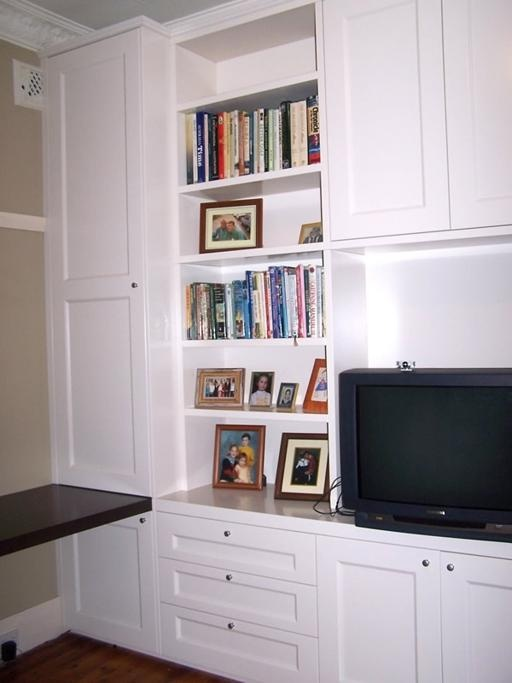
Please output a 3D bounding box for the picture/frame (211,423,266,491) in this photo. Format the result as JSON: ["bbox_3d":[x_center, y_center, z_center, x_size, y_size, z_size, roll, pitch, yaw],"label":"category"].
[{"bbox_3d":[-0.069,0.493,2.349,0.248,0.299,0.022,-2,-10,27],"label":"picture/frame"}]

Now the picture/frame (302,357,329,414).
[{"bbox_3d":[0.219,0.175,2.098,0.090,0.192,0.262,-1,2,5],"label":"picture/frame"}]

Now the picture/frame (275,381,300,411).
[{"bbox_3d":[0.130,0.226,2.259,0.016,0.120,0.091,15,-8,-40],"label":"picture/frame"}]

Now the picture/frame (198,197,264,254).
[{"bbox_3d":[-0.100,-0.469,2.294,0.265,0.232,0.020,-1,-6,27],"label":"picture/frame"}]

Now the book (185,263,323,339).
[{"bbox_3d":[-0.014,-0.146,2.192,0.642,0.277,0.100,0,3,37],"label":"book"}]

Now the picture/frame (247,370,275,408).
[{"bbox_3d":[0.026,0.202,2.329,0.122,0.165,0.017,-5,-18,37],"label":"picture/frame"}]

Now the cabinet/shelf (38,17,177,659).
[{"bbox_3d":[-0.633,-0.014,2.357,0.598,2.496,0.254,-1,2,21],"label":"cabinet/shelf"}]

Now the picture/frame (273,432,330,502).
[{"bbox_3d":[0.183,0.492,2.160,0.259,0.305,0.021,-10,-31,33],"label":"picture/frame"}]
